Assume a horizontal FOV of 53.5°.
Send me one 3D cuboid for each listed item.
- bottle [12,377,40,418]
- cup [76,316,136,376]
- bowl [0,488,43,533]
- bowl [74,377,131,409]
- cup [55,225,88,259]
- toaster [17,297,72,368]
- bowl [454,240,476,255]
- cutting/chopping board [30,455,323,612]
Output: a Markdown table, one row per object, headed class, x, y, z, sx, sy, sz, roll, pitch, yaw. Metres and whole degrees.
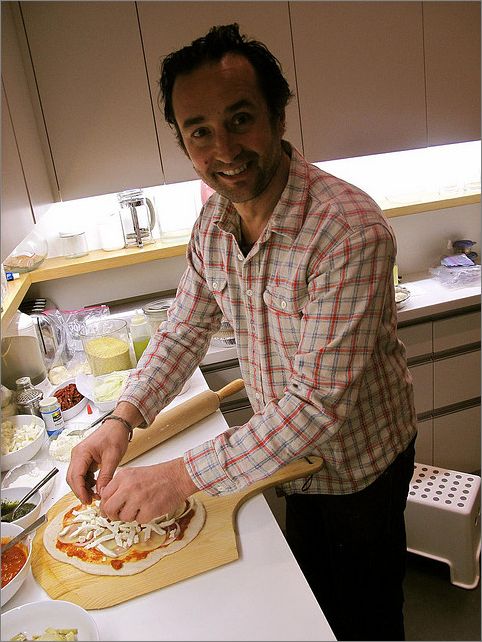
| class | x | y | z | sx | sy | sz | roll | pitch | yaw |
| --- | --- | --- | --- | --- | --- | --- | --- | --- | --- |
| bottle | -0.646 | 0.234 | 1.432 | 0.091 | 0.116 | 0.077 | -1 | 18 | 0 |
| cup | -0.485 | 0.052 | 1.725 | 0.207 | 0.221 | 0.210 | -14 | 12 | 3 |
| bowl | -0.463 | 0.390 | 1.009 | 0.069 | 0.029 | 0.067 | 0 | 26 | 0 |
| bowl | -0.450 | 0.205 | 1.491 | 0.117 | 0.060 | 0.174 | 1 | 1 | -7 |
| cup | -0.777 | -0.382 | 2.255 | 0.161 | 0.162 | 0.153 | -1 | 15 | 0 |
| toaster | -0.760 | 0.053 | 1.843 | 0.182 | 0.194 | 0.203 | 16 | 36 | 27 |
| bowl | 1.217 | -0.410 | 2.609 | 0.101 | 0.048 | 0.097 | -4 | 8 | 1 |
| cutting/chopping board | -0.123 | 0.320 | 0.821 | 0.393 | 0.014 | 0.231 | -12 | 17 | -28 |
